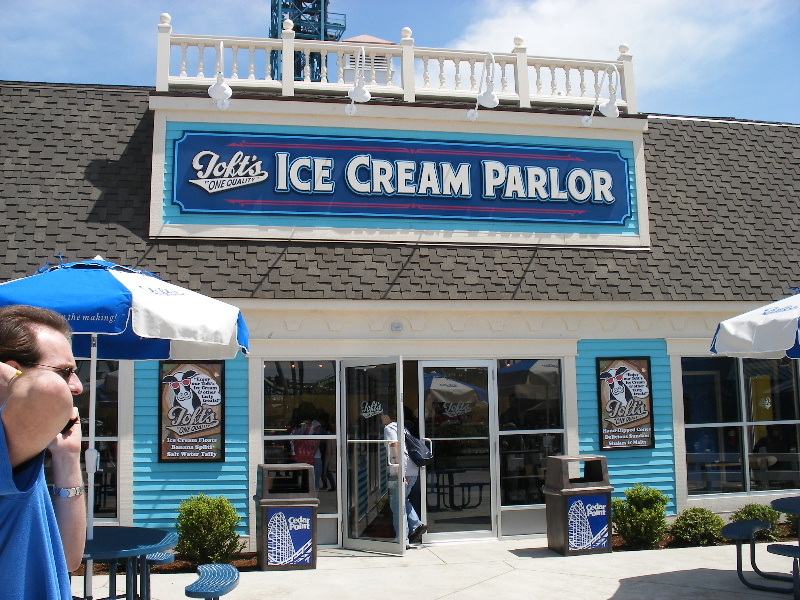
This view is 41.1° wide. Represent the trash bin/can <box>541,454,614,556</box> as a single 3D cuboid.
[{"bbox_3d":[2.852,3.216,16.917,0.958,1.520,0.624,0,-10,-15],"label":"trash bin/can"}]

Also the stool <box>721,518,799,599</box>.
[{"bbox_3d":[4.975,3.538,14.873,0.988,0.654,0.853,-4,-7,30],"label":"stool"}]

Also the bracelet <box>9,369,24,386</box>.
[{"bbox_3d":[-3.290,0.660,9.232,0.081,0.125,0.092,-11,-12,42],"label":"bracelet"}]

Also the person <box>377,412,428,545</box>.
[{"bbox_3d":[0.156,2.837,17.083,0.523,2.112,0.701,-9,-11,32],"label":"person"}]

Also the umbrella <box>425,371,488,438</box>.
[{"bbox_3d":[0.952,1.731,18.071,1.138,1.067,0.865,1,-9,-7],"label":"umbrella"}]

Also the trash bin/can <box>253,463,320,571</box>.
[{"bbox_3d":[-1.705,3.285,16.350,0.921,1.586,0.666,-1,-9,-9],"label":"trash bin/can"}]

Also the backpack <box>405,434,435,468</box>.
[{"bbox_3d":[0.331,2.421,17.127,0.342,0.589,0.485,-25,-12,13],"label":"backpack"}]
